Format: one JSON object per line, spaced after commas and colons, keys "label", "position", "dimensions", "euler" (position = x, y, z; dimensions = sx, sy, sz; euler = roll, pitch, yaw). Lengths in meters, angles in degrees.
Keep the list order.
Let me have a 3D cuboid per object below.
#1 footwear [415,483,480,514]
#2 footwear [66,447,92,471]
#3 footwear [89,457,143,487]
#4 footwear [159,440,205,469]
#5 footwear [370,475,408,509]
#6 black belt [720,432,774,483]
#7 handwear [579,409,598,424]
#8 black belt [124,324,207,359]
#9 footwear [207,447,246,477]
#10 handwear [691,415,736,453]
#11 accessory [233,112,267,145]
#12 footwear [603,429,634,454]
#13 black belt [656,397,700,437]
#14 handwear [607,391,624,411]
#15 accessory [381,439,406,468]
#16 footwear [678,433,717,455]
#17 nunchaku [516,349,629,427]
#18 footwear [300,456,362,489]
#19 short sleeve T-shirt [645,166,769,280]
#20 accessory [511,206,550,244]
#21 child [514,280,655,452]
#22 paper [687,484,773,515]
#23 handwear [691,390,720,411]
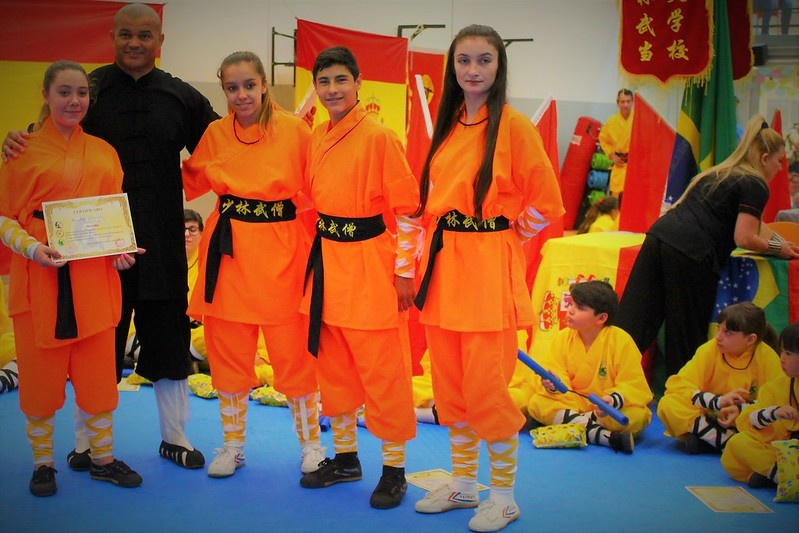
{"label": "footwear", "position": [0.248, 1.246, 3.909], "dimensions": [0.364, 0.139, 0.127], "euler": [1, -6, -8]}
{"label": "footwear", "position": [-1.858, 1.116, 4.205], "dimensions": [0.078, 0.089, 0.206], "euler": [1, 2, -7]}
{"label": "footwear", "position": [-1.584, 1.158, 4.116], "dimensions": [0.324, 0.120, 0.118], "euler": [8, 3, 16]}
{"label": "footwear", "position": [-1.282, 1.107, 4.330], "dimensions": [0.292, 0.120, 0.113], "euler": [6, 3, 33]}
{"label": "footwear", "position": [-0.055, 1.187, 3.923], "dimensions": [0.147, 0.186, 0.208], "euler": [2, 5, 24]}
{"label": "black belt", "position": [1.971, 1.091, 4.107], "dimensions": [0.275, 0.136, 0.268], "euler": [42, -25, -3]}
{"label": "handwear", "position": [1.208, 0.945, 4.590], "dimensions": [0.088, 0.031, 0.084], "euler": [-9, 15, -19]}
{"label": "black belt", "position": [-1.439, 0.464, 4.540], "dimensions": [0.279, 0.107, 0.271], "euler": [3, -36, -3]}
{"label": "footwear", "position": [-0.994, 1.126, 4.148], "dimensions": [0.116, 0.121, 0.204], "euler": [-1, -10, 27]}
{"label": "handwear", "position": [1.913, 1.017, 4.417], "dimensions": [0.226, 0.222, 0.089], "euler": [33, 39, 2]}
{"label": "accessory", "position": [-0.855, -0.772, 4.091], "dimensions": [0.124, 0.163, 0.042], "euler": [-2, -2, 11]}
{"label": "footwear", "position": [1.358, 1.075, 4.488], "dimensions": [0.080, 0.090, 0.213], "euler": [-3, 11, -13]}
{"label": "black belt", "position": [1.718, 0.922, 4.491], "dimensions": [0.269, 0.203, 0.124], "euler": [-28, -6, 22]}
{"label": "handwear", "position": [1.336, 0.840, 4.541], "dimensions": [0.106, 0.097, 0.080], "euler": [29, -19, -1]}
{"label": "accessory", "position": [-0.034, 1.038, 4.047], "dimensions": [0.145, 0.141, 0.137], "euler": [1, -6, -10]}
{"label": "footwear", "position": [1.851, 1.102, 4.501], "dimensions": [0.153, 0.059, 0.147], "euler": [5, 3, -19]}
{"label": "nunchaku", "position": [1.118, 0.770, 4.567], "dimensions": [1.043, 0.117, 0.118], "euler": [30, -3, 12]}
{"label": "footwear", "position": [-0.365, 1.154, 4.154], "dimensions": [0.384, 0.148, 0.134], "euler": [-4, 8, -14]}
{"label": "short sleeve T-shirt", "position": [2.146, -0.282, 4.998], "dimensions": [0.444, 0.649, 0.627], "euler": [31, 3, -22]}
{"label": "accessory", "position": [0.707, -0.230, 3.945], "dimensions": [0.089, 0.153, 0.118], "euler": [-18, 59, -47]}
{"label": "child", "position": [1.316, 0.557, 4.997], "dimensions": [1.017, 1.153, 0.989], "euler": [2, 3, 36]}
{"label": "paper", "position": [1.803, 1.270, 3.961], "dimensions": [0.383, 0.054, 0.239], "euler": [0, 4, 4]}
{"label": "handwear", "position": [1.858, 0.813, 4.388], "dimensions": [0.067, 0.086, 0.151], "euler": [6, 7, -42]}
